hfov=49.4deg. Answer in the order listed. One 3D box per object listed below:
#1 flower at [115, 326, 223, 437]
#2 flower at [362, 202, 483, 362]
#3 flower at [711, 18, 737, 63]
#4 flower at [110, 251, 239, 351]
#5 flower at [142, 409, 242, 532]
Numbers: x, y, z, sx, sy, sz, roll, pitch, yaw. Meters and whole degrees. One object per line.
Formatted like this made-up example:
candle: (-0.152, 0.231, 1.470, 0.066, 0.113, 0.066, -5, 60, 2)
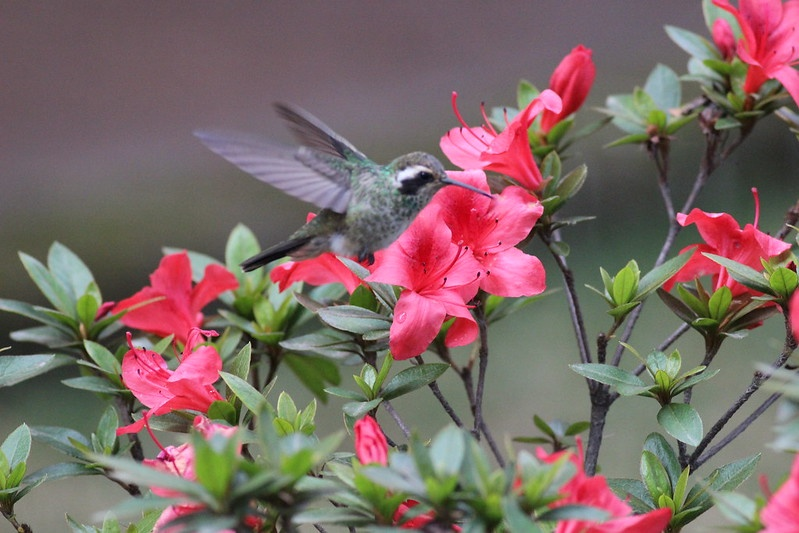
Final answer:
flower: (-0.784, 0.413, 3.136, 0.365, 0.370, 0.250, 24, -62, -19)
flower: (0.169, 0.076, 3.139, 0.504, 0.434, 0.223, -22, -28, -1)
flower: (1.262, -0.889, 3.392, 0.060, 0.175, 0.089, -20, 2, -40)
flower: (-0.904, 0.132, 3.578, 0.390, 0.398, 0.216, -26, -44, 5)
flower: (-0.704, 0.662, 2.816, 0.183, 0.394, 0.390, 16, -16, -10)
